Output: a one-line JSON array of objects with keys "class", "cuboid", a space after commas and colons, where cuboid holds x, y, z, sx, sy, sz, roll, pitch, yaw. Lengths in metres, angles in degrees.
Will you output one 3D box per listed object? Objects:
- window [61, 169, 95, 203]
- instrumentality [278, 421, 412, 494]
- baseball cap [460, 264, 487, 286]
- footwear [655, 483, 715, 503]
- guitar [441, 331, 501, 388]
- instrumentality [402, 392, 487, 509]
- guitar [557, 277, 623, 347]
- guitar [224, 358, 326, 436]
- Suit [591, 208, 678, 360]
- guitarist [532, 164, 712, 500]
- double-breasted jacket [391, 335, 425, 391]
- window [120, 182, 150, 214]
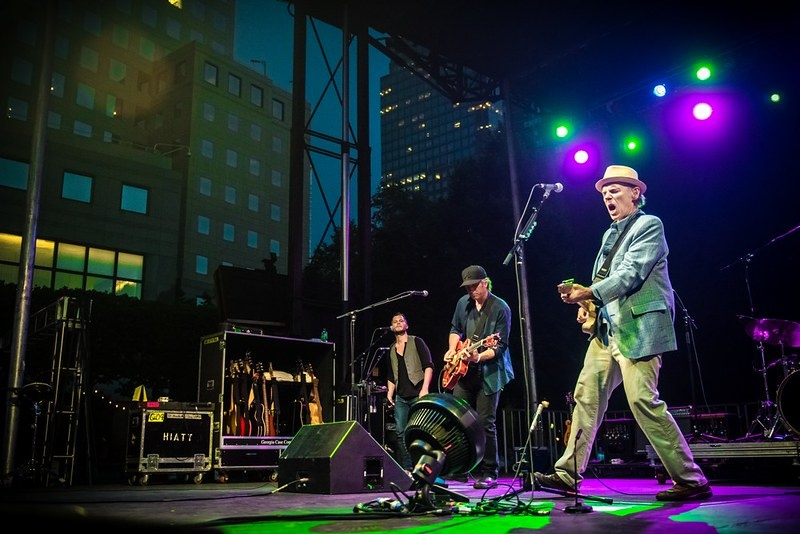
[{"class": "window", "cuboid": [-10.699, -2.647, 23.031, 0.978, 0.987, 0.099, 17, -17, -41]}, {"class": "instrumentality", "cuboid": [-0.698, 2.195, 8.813, 1.104, 0.645, 1.177, 5, -14, -37]}, {"class": "baseball cap", "cuboid": [1.026, 0.105, 9.680, 0.338, 0.199, 0.250, -13, 4, -17]}, {"class": "footwear", "cuboid": [3.045, 2.457, 7.560, 0.588, 0.237, 0.221, -1, -21, 2]}, {"class": "guitar", "cuboid": [0.918, 1.277, 9.396, 0.826, 0.644, 0.310, -19, -24, 39]}, {"class": "instrumentality", "cuboid": [0.607, 1.829, 7.132, 0.857, 0.999, 0.938, 9, -6, 28]}, {"class": "guitar", "cuboid": [2.626, 0.621, 9.698, 0.212, 0.668, 1.595, 6, -16, 33]}, {"class": "guitar", "cuboid": [-2.126, 2.152, 11.622, 1.610, 1.357, 0.919, 3, -20, -20]}, {"class": "Suit", "cuboid": [2.606, 0.181, 7.859, 0.879, 1.699, 0.552, -9, -19, 16]}, {"class": "guitarist", "cuboid": [2.503, 0.710, 8.006, 1.898, 3.772, 1.527, -1, -9, 27]}, {"class": "double-breasted jacket", "cuboid": [0.120, 1.450, 10.477, 0.526, 0.688, 0.361, -28, -36, 28]}, {"class": "window", "cuboid": [-9.300, -2.422, 24.320, 0.121, 0.963, 1.107, -10, -4, 37]}]
